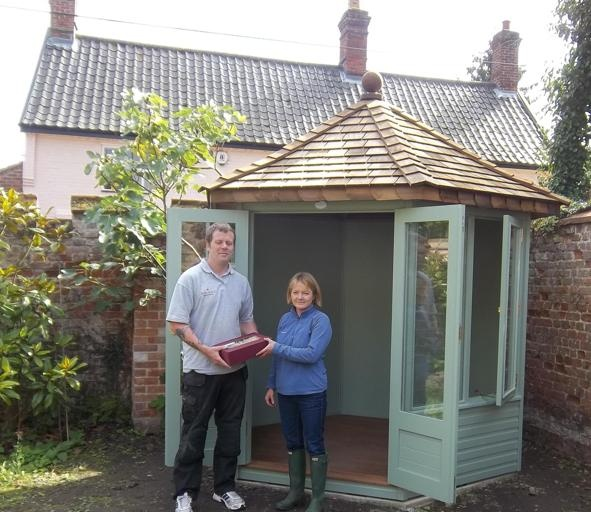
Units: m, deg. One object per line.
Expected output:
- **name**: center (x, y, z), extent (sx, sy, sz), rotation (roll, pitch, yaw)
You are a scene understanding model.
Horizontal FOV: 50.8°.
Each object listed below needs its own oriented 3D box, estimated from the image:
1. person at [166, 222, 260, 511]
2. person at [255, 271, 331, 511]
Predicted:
- **person**: center (-0.736, 0.982, 5.509), extent (0.814, 2.552, 0.496), rotation (1, -3, -19)
- **person**: center (0.014, 1.204, 5.572), extent (0.621, 2.108, 0.433), rotation (-1, -3, 13)
